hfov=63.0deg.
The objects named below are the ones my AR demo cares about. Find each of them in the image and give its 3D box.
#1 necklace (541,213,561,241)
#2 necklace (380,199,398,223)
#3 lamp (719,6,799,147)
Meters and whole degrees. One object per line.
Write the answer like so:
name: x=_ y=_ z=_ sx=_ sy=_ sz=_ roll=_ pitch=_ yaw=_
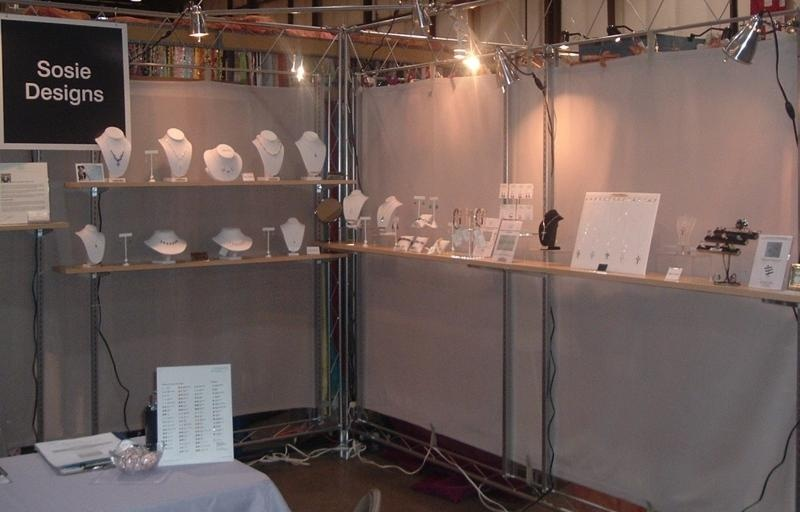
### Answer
necklace: x=1.011 y=-0.196 z=4.363 sx=0.091 sy=0.176 sz=0.169 roll=-4 pitch=4 yaw=-14
necklace: x=-0.078 y=-0.375 z=5.242 sx=0.120 sy=0.182 sz=0.150 roll=7 pitch=13 yaw=35
lamp: x=1.980 y=-0.985 z=3.618 sx=0.469 sy=0.697 sz=0.435 roll=0 pitch=11 yaw=0
